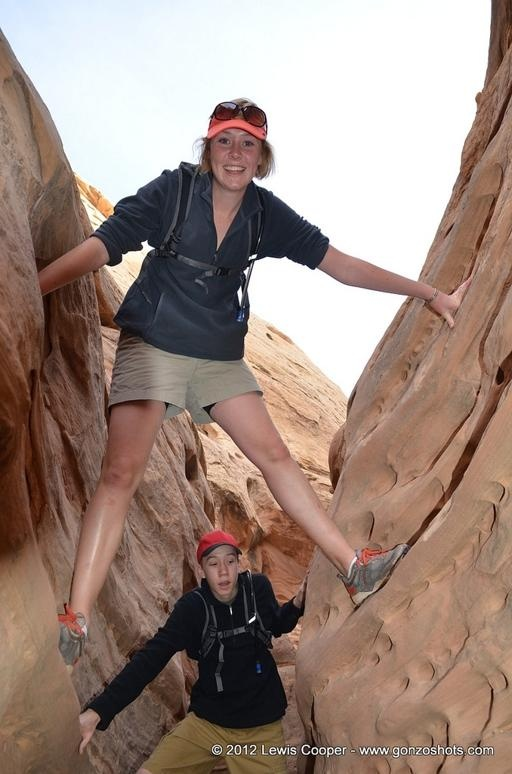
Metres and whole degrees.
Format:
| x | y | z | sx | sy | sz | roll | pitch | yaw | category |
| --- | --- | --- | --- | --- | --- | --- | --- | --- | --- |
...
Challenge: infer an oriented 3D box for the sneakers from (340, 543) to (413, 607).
| x | y | z | sx | sy | sz | roll | pitch | yaw | category |
| --- | --- | --- | --- | --- | --- | --- | --- | --- | --- |
| 0.454 | 0.726 | 2.347 | 0.180 | 0.284 | 0.150 | 27 | 2 | 12 | sneakers |

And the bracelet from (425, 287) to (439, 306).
| x | y | z | sx | sy | sz | roll | pitch | yaw | category |
| --- | --- | --- | --- | --- | --- | --- | --- | --- | --- |
| 0.832 | -0.430 | 2.830 | 0.029 | 0.071 | 0.080 | 8 | -28 | -4 | bracelet |
